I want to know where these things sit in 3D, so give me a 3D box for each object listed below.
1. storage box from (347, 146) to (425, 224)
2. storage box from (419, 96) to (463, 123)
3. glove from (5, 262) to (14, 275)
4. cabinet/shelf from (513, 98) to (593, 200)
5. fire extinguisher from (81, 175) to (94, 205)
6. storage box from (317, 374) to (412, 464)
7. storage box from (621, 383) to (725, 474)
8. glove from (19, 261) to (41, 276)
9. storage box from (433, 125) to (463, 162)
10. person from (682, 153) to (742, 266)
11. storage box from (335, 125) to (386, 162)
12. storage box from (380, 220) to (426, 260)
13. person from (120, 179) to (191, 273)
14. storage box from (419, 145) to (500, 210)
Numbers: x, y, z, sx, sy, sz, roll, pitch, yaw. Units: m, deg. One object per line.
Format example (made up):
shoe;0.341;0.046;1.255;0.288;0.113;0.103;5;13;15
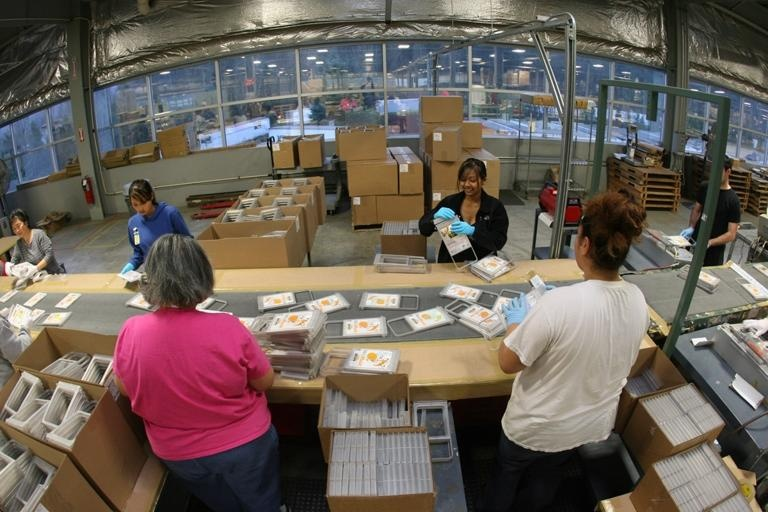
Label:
storage box;-0.009;-1.081;7.033;0.978;0.826;1.738;-3;18;0
storage box;0.805;-2.112;6.503;0.700;0.403;0.365;0;14;0
glove;-3.386;0.108;4.076;0.072;0.097;0.031;2;-18;7
cabinet/shelf;3.133;-2.151;8.679;1.251;1.828;2.450;0;18;16
fire extinguisher;-5.520;-1.217;8.405;0.166;0.535;0.148;-2;18;10
storage box;-0.086;0.853;2.815;0.496;0.334;0.274;-2;4;6
storage box;1.703;1.025;2.714;0.452;0.403;0.261;-11;43;-14
glove;-3.119;0.107;3.980;0.138;0.063;0.159;4;9;-17
storage box;0.889;-1.495;6.462;0.409;0.461;0.746;0;15;6
person;3.112;-0.372;4.297;0.399;1.039;1.317;9;22;37
storage box;-0.331;-1.662;6.844;0.633;0.372;0.609;-1;18;-1
storage box;0.172;-0.185;4.365;0.382;0.233;0.376;1;18;0
person;-2.123;-0.229;4.107;0.590;0.841;0.496;-14;18;-9
storage box;1.099;-1.127;6.726;0.972;0.970;1.351;1;19;2
